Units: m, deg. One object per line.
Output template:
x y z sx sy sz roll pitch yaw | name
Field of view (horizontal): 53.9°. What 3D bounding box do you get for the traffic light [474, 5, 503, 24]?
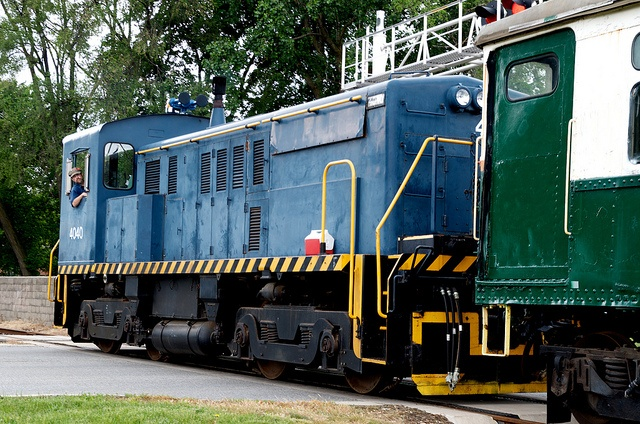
2.022 -2.396 7.594 0.292 0.199 0.098 3 16 -31 | traffic light
